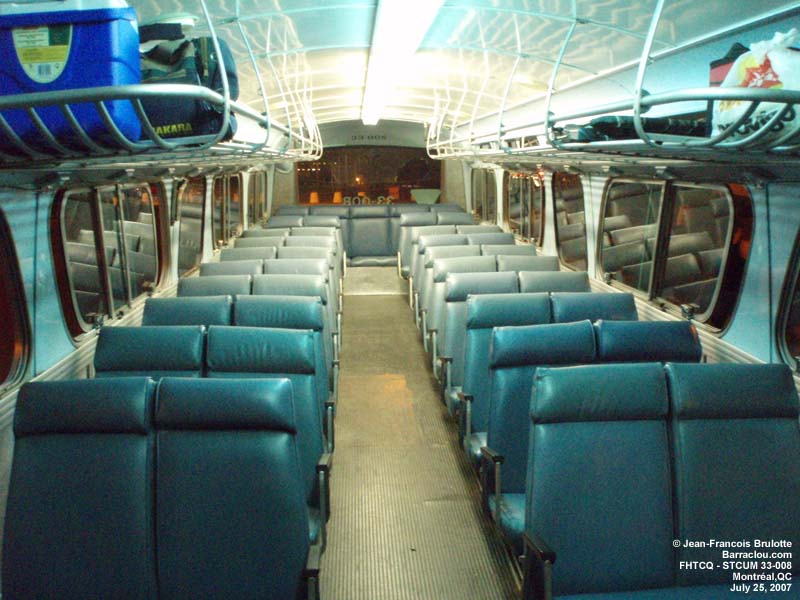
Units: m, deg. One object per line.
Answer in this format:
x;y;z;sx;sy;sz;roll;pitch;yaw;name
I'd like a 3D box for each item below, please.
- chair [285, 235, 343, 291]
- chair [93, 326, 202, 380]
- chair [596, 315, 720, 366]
-1.235;-0.536;8.932;0.875;0.957;0.958;1;-82;8;chair
-1.661;0.346;4.247;0.731;0.376;0.432;-1;-96;1;chair
1.748;0.249;4.591;0.827;0.422;0.293;5;-71;-10;chair
